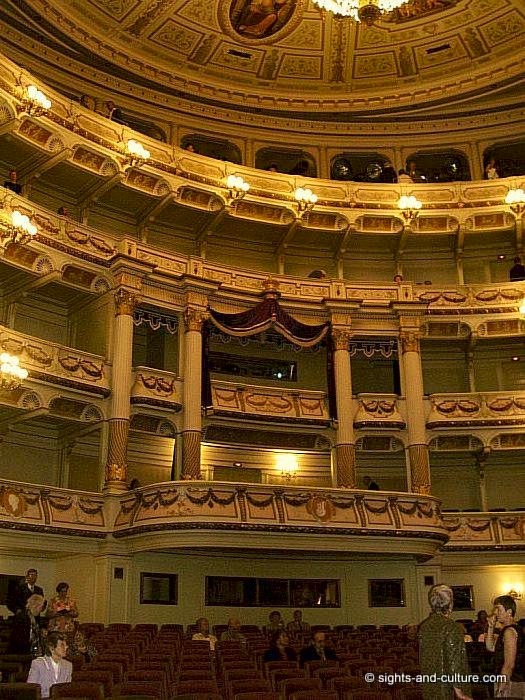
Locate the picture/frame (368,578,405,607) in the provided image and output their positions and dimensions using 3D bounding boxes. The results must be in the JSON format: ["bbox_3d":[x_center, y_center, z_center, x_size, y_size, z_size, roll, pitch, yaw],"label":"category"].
[{"bbox_3d":[3.614,7.265,20.367,1.104,0.654,0.071,2,-25,-8],"label":"picture/frame"}]

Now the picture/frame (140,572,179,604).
[{"bbox_3d":[-2.824,6.388,18.261,0.947,0.672,0.295,6,-38,-14],"label":"picture/frame"}]
